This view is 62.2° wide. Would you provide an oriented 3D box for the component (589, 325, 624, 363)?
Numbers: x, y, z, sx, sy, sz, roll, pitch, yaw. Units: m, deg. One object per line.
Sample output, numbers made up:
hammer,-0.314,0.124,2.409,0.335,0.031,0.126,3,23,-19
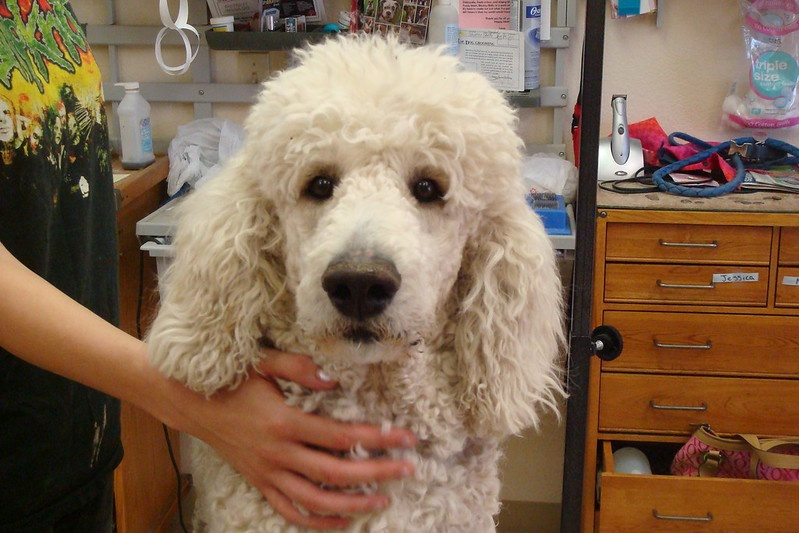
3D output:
component,0.678,0.265,2.252,0.123,0.134,0.133,4,8,38
